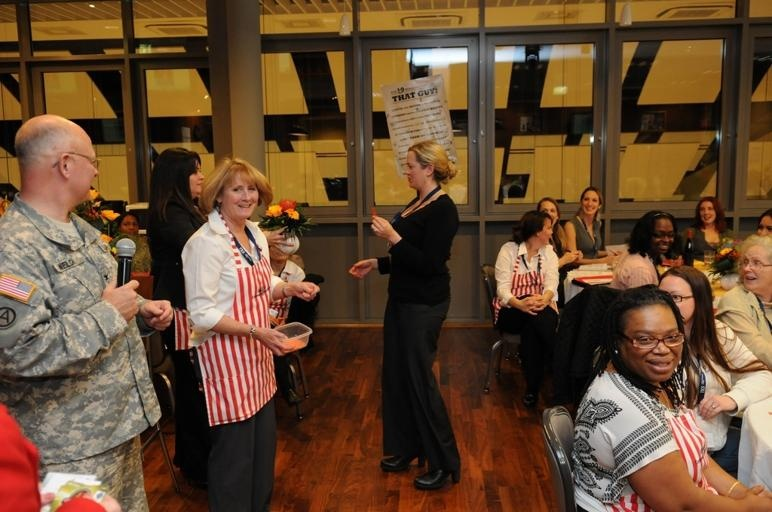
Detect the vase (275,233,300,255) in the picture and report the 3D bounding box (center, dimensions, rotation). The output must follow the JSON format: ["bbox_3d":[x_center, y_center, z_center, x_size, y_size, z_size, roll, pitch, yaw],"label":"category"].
[{"bbox_3d":[-0.673,-0.075,4.540,0.186,0.145,0.191,-12,-8,-11],"label":"vase"}]

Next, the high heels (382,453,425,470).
[{"bbox_3d":[0.117,1.421,4.514,0.268,0.127,0.124,8,-2,-13],"label":"high heels"}]

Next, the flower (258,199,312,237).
[{"bbox_3d":[-0.721,-0.270,4.633,0.271,0.240,0.281,6,3,29],"label":"flower"}]

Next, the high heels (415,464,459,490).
[{"bbox_3d":[0.335,1.465,4.386,0.276,0.126,0.131,3,-1,-16],"label":"high heels"}]

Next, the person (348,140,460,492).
[{"bbox_3d":[0.203,0.383,4.345,0.545,2.193,0.656,-1,14,0],"label":"person"}]
